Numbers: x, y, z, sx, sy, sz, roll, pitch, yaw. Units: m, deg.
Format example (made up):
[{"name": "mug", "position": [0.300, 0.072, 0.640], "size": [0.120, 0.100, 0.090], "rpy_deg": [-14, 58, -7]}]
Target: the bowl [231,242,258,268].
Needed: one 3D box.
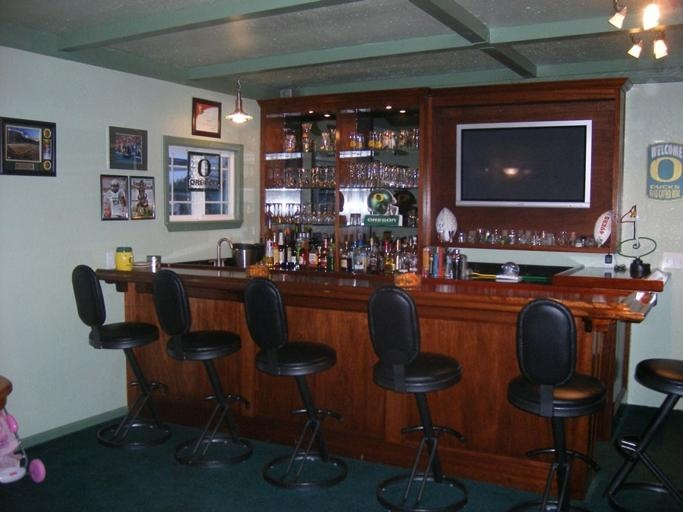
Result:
[{"name": "bowl", "position": [-1.018, -0.003, 5.940], "size": [0.279, 0.278, 0.328], "rpy_deg": [3, 9, 16]}]

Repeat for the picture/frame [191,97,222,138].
[{"name": "picture/frame", "position": [-1.501, -1.518, 6.082], "size": [0.035, 0.485, 0.496], "rpy_deg": [9, 11, 34]}]

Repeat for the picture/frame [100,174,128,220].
[{"name": "picture/frame", "position": [-2.151, -0.552, 5.205], "size": [0.049, 0.480, 0.419], "rpy_deg": [4, 7, 30]}]

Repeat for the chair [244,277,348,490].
[{"name": "chair", "position": [-0.280, 0.877, 4.057], "size": [0.644, 1.504, 0.731], "rpy_deg": [2, 7, 14]}]

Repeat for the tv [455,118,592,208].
[{"name": "tv", "position": [1.941, -0.974, 5.759], "size": [1.001, 0.661, 0.049], "rpy_deg": [2, 4, 23]}]

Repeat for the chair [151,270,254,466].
[{"name": "chair", "position": [-1.040, 0.834, 4.376], "size": [0.684, 1.513, 0.714], "rpy_deg": [1, 7, 8]}]

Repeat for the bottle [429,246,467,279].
[{"name": "bottle", "position": [1.001, 0.082, 5.281], "size": [0.305, 0.289, 0.158], "rpy_deg": [-2, 7, -30]}]

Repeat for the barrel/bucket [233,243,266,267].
[{"name": "barrel/bucket", "position": [-0.992, -0.020, 5.918], "size": [0.324, 0.245, 0.261], "rpy_deg": [3, 5, 17]}]

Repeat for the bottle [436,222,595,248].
[{"name": "bottle", "position": [1.877, -0.183, 5.845], "size": [1.472, 0.183, 0.370], "rpy_deg": [3, 7, 26]}]
